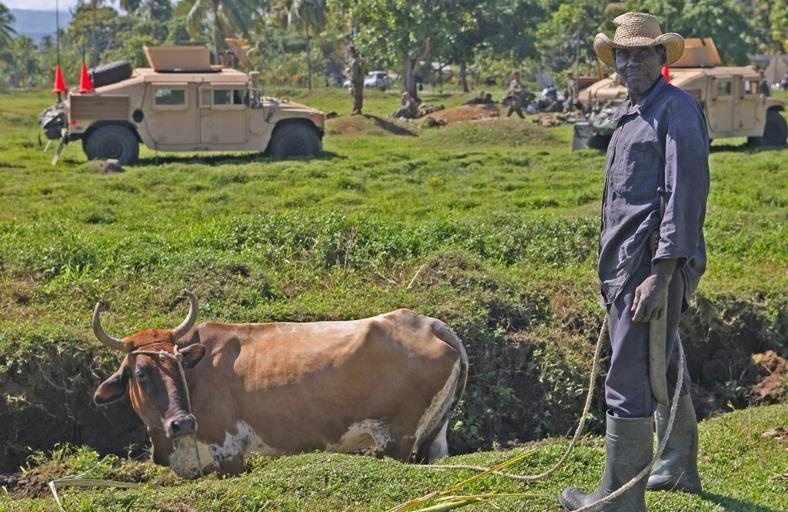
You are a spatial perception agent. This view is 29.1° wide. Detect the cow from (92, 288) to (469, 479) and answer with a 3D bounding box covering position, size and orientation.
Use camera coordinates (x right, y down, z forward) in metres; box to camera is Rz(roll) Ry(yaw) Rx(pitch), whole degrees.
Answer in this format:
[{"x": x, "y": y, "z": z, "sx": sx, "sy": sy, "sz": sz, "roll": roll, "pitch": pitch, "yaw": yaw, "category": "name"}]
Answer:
[{"x": -2.462, "y": 2.735, "z": 38.505, "sx": 10.487, "sy": 6.581, "sz": 4.236, "roll": 1, "pitch": -8, "yaw": 0, "category": "cow"}]
